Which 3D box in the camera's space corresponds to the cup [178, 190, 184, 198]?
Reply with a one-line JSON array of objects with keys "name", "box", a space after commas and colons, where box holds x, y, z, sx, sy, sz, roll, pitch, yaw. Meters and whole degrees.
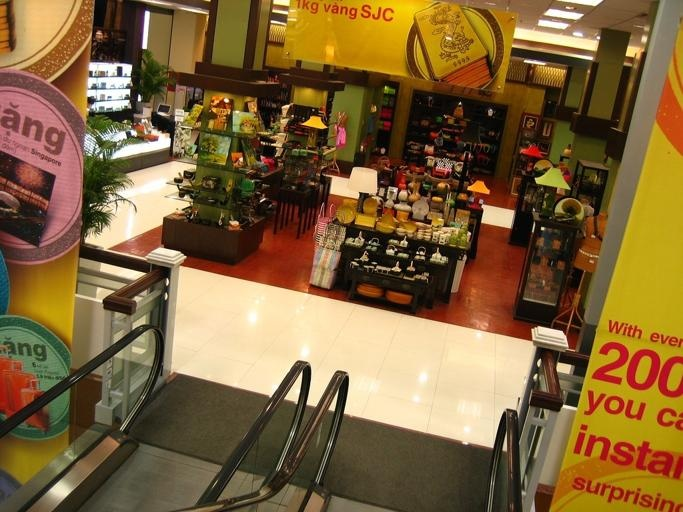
[{"name": "cup", "box": [-2.699, -1.089, 8.560, 0.101, 0.099, 0.109, 3, 8, 0]}]

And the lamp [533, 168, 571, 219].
[{"name": "lamp", "box": [3.499, -1.184, 8.300, 0.476, 0.632, 1.248, 16, 19, 20]}]

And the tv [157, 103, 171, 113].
[{"name": "tv", "box": [-5.611, -4.734, 15.971, 0.422, 0.319, 0.373, 11, 17, -18]}]

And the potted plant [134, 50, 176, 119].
[{"name": "potted plant", "box": [-6.335, -6.123, 17.194, 1.608, 2.088, 1.548, 17, 23, 30]}]

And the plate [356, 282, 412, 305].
[{"name": "plate", "box": [0.701, 0.605, 7.966, 0.922, 0.306, 0.227, 13, 18, 8]}]

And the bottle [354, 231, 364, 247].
[{"name": "bottle", "box": [0.309, -0.293, 8.067, 0.138, 0.202, 0.284, 11, 18, 6]}]

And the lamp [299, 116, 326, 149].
[{"name": "lamp", "box": [-0.616, -2.973, 11.802, 0.687, 0.726, 1.136, 7, 19, -6]}]

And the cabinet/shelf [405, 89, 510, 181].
[{"name": "cabinet/shelf", "box": [4.173, -4.555, 17.750, 4.070, 4.098, 1.238, 7, 7, 4]}]

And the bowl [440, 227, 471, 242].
[{"name": "bowl", "box": [1.813, -0.375, 7.987, 0.269, 0.095, 0.296, 9, 18, 25]}]

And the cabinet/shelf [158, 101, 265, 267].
[{"name": "cabinet/shelf", "box": [-2.108, -1.440, 8.823, 1.442, 2.725, 1.237, 11, 17, 8]}]
